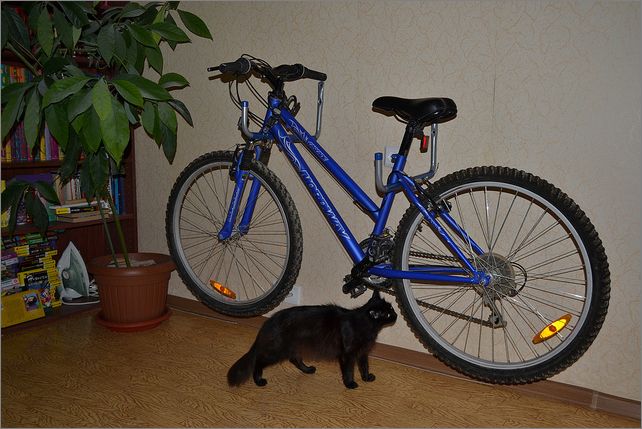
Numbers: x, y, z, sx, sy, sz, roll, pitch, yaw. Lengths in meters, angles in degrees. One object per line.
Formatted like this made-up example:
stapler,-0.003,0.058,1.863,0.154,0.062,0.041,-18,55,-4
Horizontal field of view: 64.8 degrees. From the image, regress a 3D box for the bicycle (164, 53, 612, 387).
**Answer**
bicycle,0.335,-0.128,3.178,2.562,1.699,1.301,15,18,26
